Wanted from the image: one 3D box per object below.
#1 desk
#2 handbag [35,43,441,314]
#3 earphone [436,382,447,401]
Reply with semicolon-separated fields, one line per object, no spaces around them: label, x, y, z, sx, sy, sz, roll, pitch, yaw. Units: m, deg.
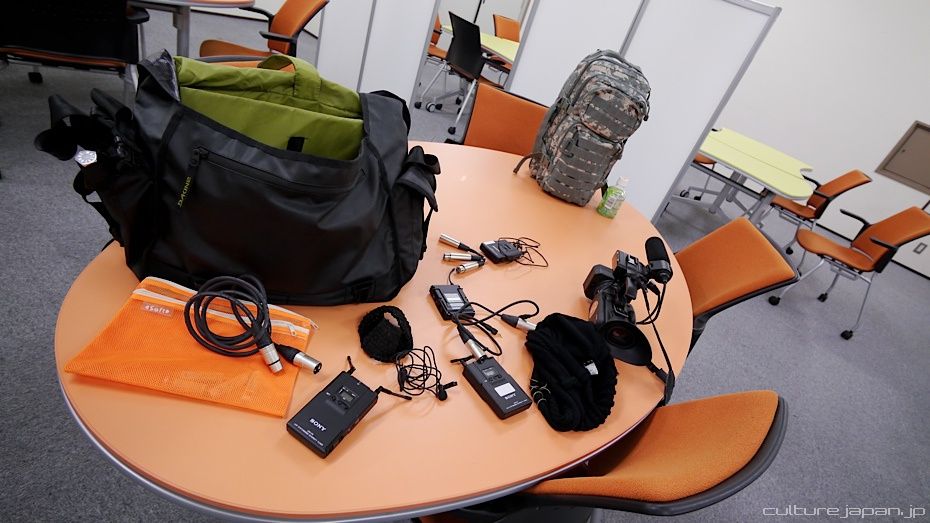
desk;-0.435;0.481;2.910;3.024;0.685;1.981;-6;57;-16
handbag;-1.089;-0.471;3.019;1.906;0.969;0.954;-1;40;-22
earphone;-0.117;0.630;2.751;0.057;0.030;0.073;-10;79;0
